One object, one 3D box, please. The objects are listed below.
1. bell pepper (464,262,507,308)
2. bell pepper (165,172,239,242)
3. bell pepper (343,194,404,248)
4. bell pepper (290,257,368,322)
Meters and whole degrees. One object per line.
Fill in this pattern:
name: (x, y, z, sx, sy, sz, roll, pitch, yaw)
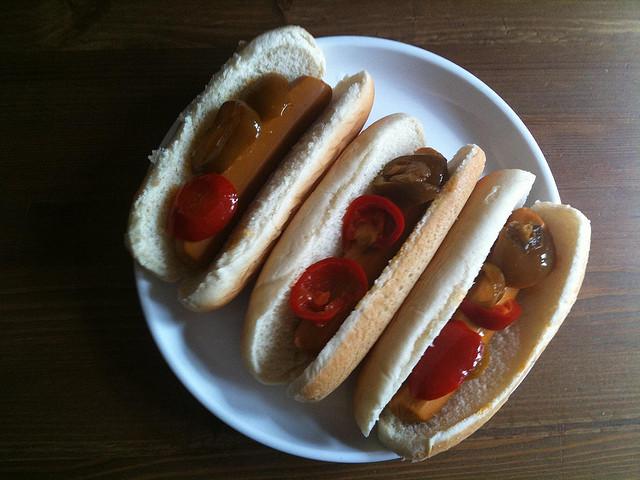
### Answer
bell pepper: (0.832, 0.201, 3.235, 0.238, 0.228, 0.205, 0, 116, -2)
bell pepper: (-0.575, -0.143, 3.073, 0.267, 0.144, 0.386, 33, 87, 8)
bell pepper: (0.251, -0.086, 3.100, 0.257, 0.109, 0.265, 0, 96, 9)
bell pepper: (0.045, 0.238, 3.068, 0.348, 0.079, 0.284, -25, 83, 2)
